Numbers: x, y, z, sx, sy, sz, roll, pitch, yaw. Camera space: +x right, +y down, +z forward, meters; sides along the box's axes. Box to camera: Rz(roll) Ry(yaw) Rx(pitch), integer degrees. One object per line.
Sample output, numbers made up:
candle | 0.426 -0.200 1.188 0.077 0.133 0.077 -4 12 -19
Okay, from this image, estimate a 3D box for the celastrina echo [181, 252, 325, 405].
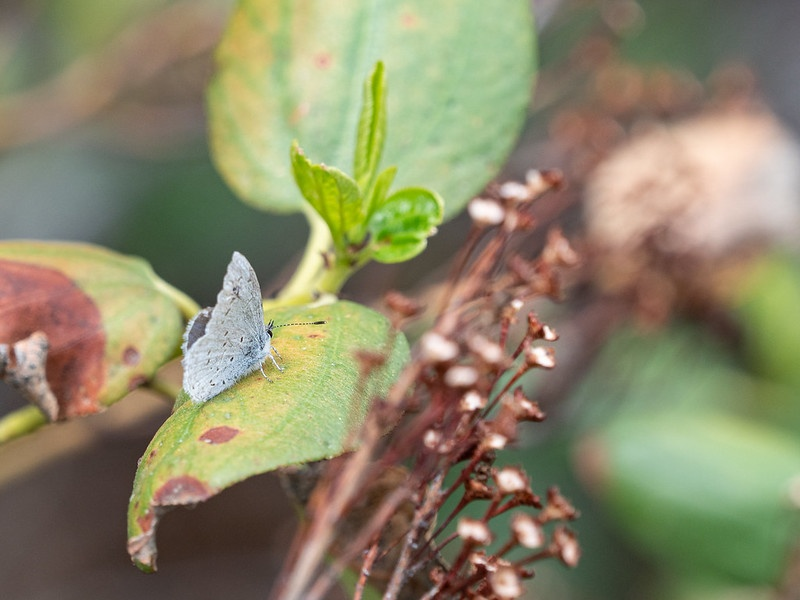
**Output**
celastrina echo | -0.181 0.033 1.056 0.183 0.186 0.137 -27 93 -21
